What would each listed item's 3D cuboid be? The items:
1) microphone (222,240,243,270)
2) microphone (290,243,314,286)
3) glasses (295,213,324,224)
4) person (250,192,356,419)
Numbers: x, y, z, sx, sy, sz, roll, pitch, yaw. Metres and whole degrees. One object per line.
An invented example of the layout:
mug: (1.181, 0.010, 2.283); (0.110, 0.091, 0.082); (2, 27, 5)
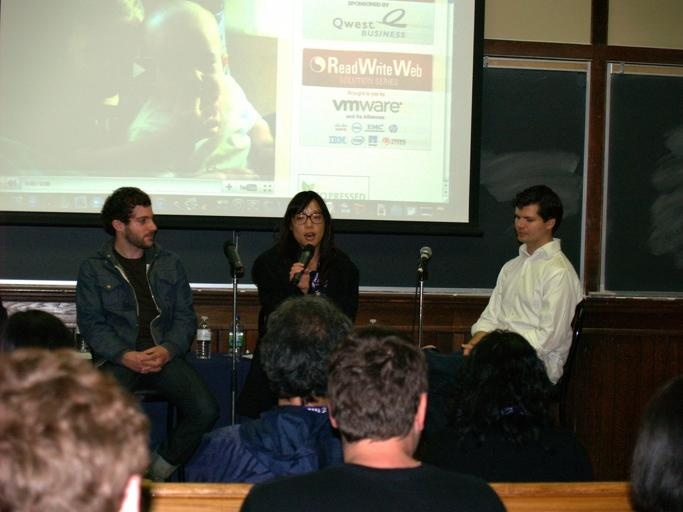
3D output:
microphone: (-0.622, 0.017, 3.852); (0.084, 0.172, 0.346); (-5, 17, -12)
microphone: (-0.202, 0.042, 3.558); (0.072, 0.074, 0.269); (32, 46, -13)
glasses: (-0.185, -0.209, 3.748); (0.152, 0.055, 0.037); (-3, 15, -4)
person: (-0.186, 0.398, 3.988); (0.668, 1.538, 0.754); (-4, 23, -7)
